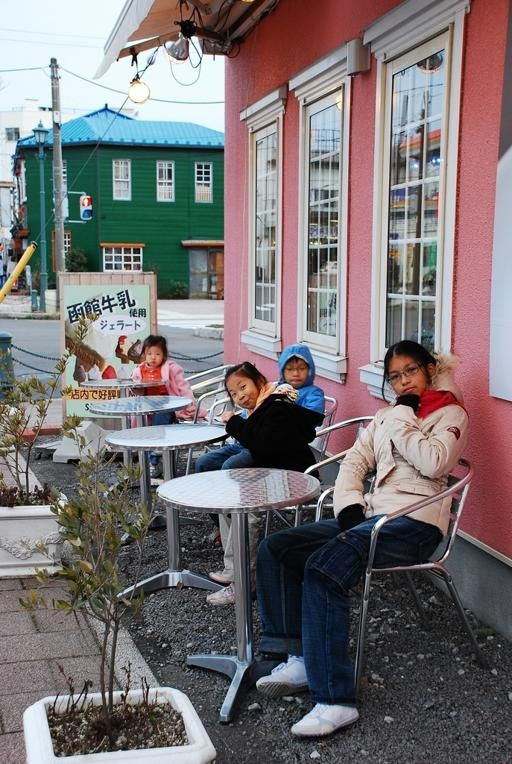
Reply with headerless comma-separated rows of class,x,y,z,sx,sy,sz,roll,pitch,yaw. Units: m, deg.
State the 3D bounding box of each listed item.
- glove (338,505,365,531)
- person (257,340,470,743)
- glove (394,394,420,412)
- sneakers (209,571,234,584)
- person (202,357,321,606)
glove,0.366,0.524,2.325,0.098,0.114,0.088,-2,-11,38
person,0.368,0.471,2.284,1.011,1.261,0.547,-3,3,-41
glove,0.618,0.085,2.447,0.077,0.060,0.075,-1,2,-36
sneakers,-0.181,1.028,3.193,0.136,0.060,0.054,9,2,33
person,0.007,0.453,3.057,0.608,1.052,0.465,1,-15,3
